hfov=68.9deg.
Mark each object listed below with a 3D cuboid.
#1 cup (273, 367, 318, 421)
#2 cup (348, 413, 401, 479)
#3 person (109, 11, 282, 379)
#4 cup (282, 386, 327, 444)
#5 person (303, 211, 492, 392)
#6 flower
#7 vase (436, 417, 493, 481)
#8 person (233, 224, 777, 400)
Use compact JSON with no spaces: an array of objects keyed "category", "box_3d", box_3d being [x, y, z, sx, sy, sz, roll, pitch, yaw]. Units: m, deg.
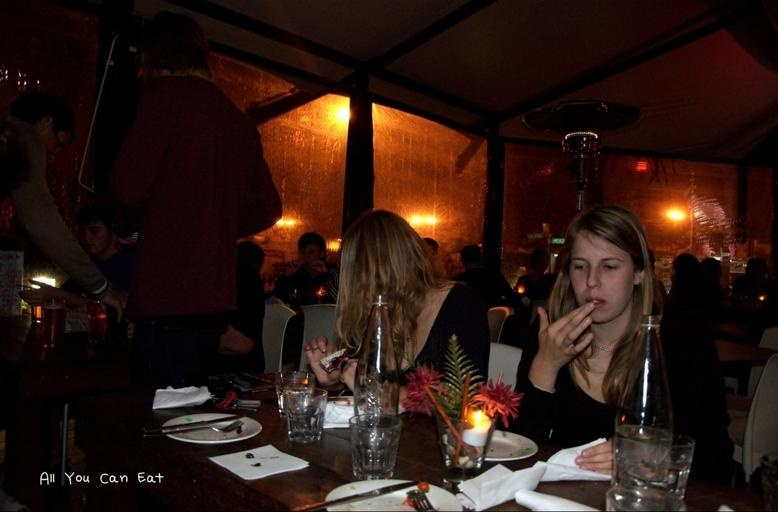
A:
[{"category":"cup","box_3d":[-0.413,0.589,2.441,0.170,0.183,0.186,1,-6,0]},{"category":"cup","box_3d":[-0.046,0.702,2.149,0.211,0.215,0.205,0,-2,0]},{"category":"person","box_3d":[-1.059,-0.271,3.072,0.408,1.915,0.811,-3,-12,31]},{"category":"cup","box_3d":[-0.327,0.626,2.330,0.199,0.209,0.194,1,7,0]},{"category":"person","box_3d":[-0.018,0.201,3.341,0.900,1.359,0.991,-3,-2,-35]},{"category":"flower","box_3d":[0.291,0.574,2.122,0.430,0.383,0.329,11,-13,4]},{"category":"vase","box_3d":[0.270,0.707,2.166,0.223,0.229,0.214,0,0,17]},{"category":"person","box_3d":[0.710,0.334,3.477,1.493,0.570,1.581,-5,9,-36]}]
